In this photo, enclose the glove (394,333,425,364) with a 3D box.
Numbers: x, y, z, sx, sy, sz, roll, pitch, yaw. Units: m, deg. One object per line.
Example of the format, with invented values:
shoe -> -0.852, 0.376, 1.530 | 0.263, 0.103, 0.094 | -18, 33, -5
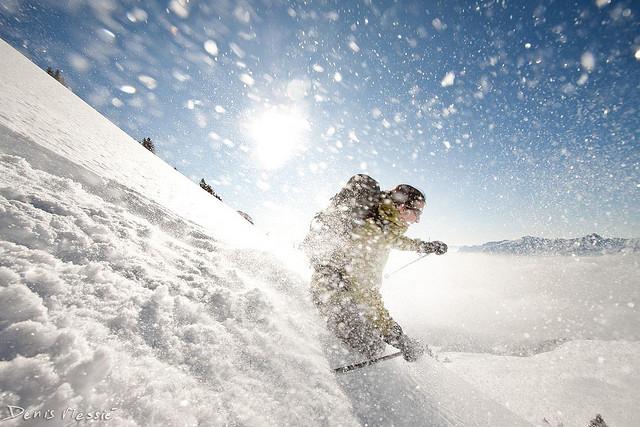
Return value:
glove -> 1.726, 2.671, 6.312 | 0.586, 0.424, 0.234 | 44, -30, 18
